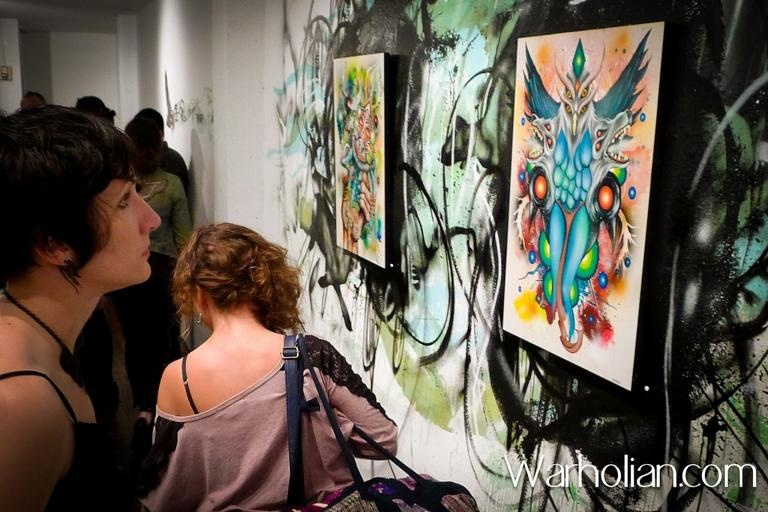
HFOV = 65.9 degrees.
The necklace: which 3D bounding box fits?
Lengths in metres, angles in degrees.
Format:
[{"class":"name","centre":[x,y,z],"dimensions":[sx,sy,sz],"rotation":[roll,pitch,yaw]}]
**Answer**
[{"class":"necklace","centre":[-0.992,0.230,1.703],"dimensions":[0.031,0.327,0.096],"rotation":[-13,25,23]}]
